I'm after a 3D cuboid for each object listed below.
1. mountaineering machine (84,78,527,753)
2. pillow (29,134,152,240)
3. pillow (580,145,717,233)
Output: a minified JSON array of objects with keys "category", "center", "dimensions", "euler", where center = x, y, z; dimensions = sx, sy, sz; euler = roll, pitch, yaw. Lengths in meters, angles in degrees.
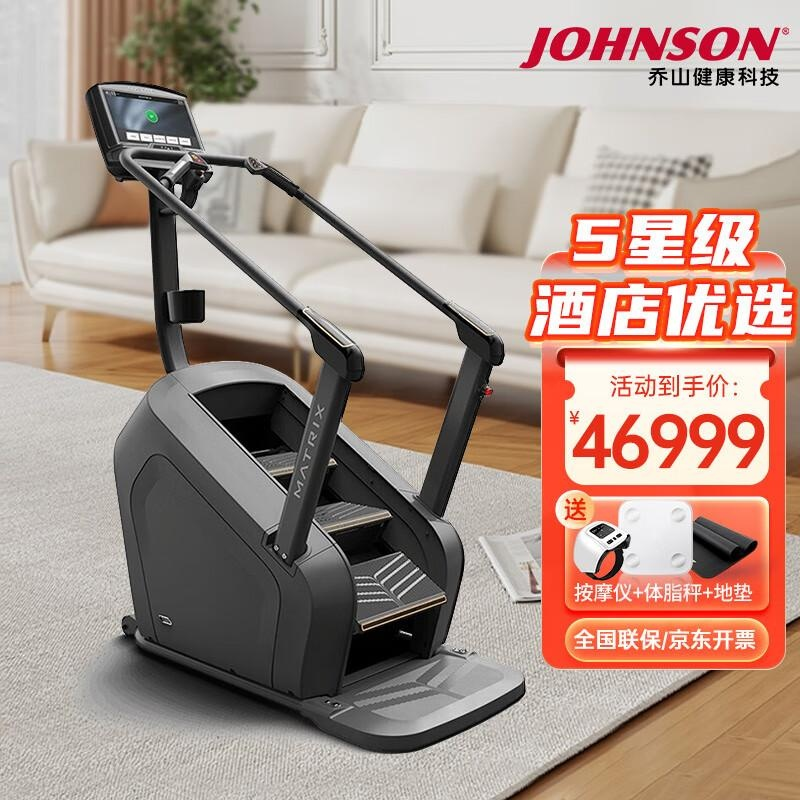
[{"category":"mountaineering machine","center":[-0.179,0.052,1.250],"dimensions":[0.826,0.993,0.601],"euler":[11,25,-1]},{"category":"pillow","center":[-1.550,-1.012,3.661],"dimensions":[0.681,0.504,0.496],"euler":[2,17,-1]},{"category":"pillow","center":[0.908,-0.835,2.776],"dimensions":[0.425,0.273,0.254],"euler":[8,13,34]}]
